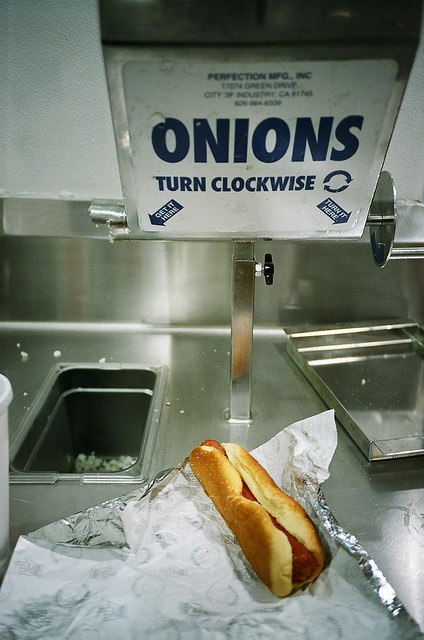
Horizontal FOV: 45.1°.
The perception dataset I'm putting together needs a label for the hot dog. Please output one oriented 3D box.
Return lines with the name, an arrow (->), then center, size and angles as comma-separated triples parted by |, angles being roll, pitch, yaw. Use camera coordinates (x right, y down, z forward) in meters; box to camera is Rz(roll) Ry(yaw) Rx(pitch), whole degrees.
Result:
hot dog -> 0.044, 0.219, 0.584 | 0.075, 0.054, 0.163 | -12, 27, -21
